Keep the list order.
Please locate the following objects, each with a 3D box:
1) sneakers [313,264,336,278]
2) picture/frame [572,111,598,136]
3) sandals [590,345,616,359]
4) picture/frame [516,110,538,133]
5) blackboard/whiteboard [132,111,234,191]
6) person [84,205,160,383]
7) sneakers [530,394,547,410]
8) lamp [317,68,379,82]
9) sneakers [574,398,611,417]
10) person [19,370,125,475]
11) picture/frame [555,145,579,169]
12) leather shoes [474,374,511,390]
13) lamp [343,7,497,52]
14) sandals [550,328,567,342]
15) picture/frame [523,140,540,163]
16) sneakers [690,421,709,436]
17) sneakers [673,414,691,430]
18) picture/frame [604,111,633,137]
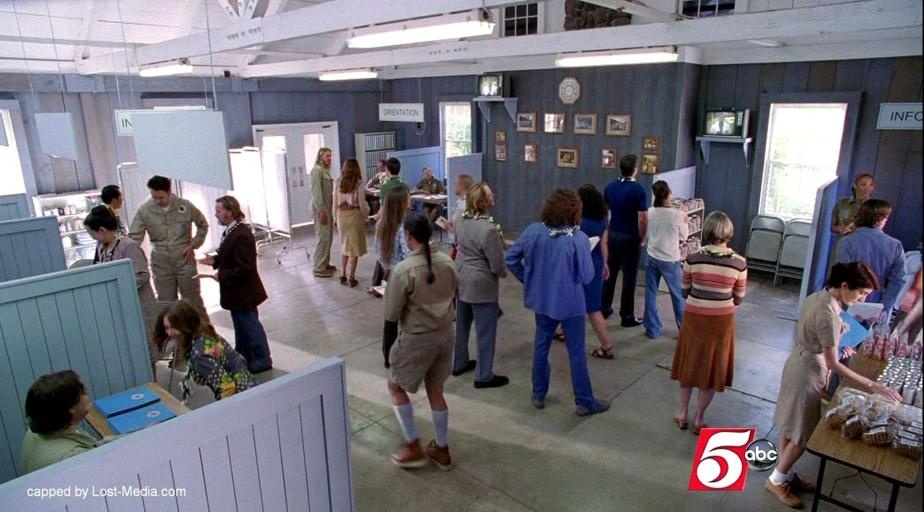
[{"bbox_3d":[-2.581,0.316,10.074,0.518,0.197,0.161,-4,12,7],"label":"sneakers"},{"bbox_3d":[2.571,-2.748,10.819,0.568,0.473,0.058,8,15,40],"label":"picture/frame"},{"bbox_3d":[2.021,1.376,7.443,0.294,0.112,0.141,9,17,28],"label":"sandals"},{"bbox_3d":[1.452,-2.984,11.542,0.560,0.441,0.077,5,11,37],"label":"picture/frame"},{"bbox_3d":[-3.118,-1.199,5.780,1.797,0.834,0.455,10,21,40],"label":"blackboard/whiteboard"},{"bbox_3d":[-4.237,0.405,6.601,0.552,2.059,1.133,-14,20,-33],"label":"person"},{"bbox_3d":[0.963,1.857,6.571,0.118,0.134,0.206,2,17,0],"label":"sneakers"},{"bbox_3d":[-2.357,-3.758,10.812,1.461,0.168,0.413,7,17,33],"label":"lamp"},{"bbox_3d":[1.620,1.881,6.587,0.509,0.212,0.170,-10,18,-17],"label":"sneakers"},{"bbox_3d":[-3.479,1.494,4.588,0.576,1.156,0.661,40,43,16],"label":"person"},{"bbox_3d":[2.264,-2.119,11.156,0.532,0.456,0.053,7,14,36],"label":"picture/frame"},{"bbox_3d":[0.404,1.696,7.007,0.483,0.184,0.167,-4,10,-11],"label":"leather shoes"},{"bbox_3d":[-0.477,-2.705,6.249,1.843,0.259,0.421,6,17,30],"label":"lamp"},{"bbox_3d":[1.448,1.195,7.759,0.175,0.180,0.491,6,13,16],"label":"sandals"},{"bbox_3d":[1.553,-2.327,11.615,0.499,0.561,0.090,8,13,39],"label":"picture/frame"},{"bbox_3d":[2.815,2.072,6.217,0.101,0.184,0.188,20,59,24],"label":"sneakers"},{"bbox_3d":[2.674,2.026,6.314,0.106,0.088,0.218,-1,12,2],"label":"sneakers"},{"bbox_3d":[3.151,-2.633,10.416,0.568,0.450,0.047,9,14,42],"label":"picture/frame"}]
